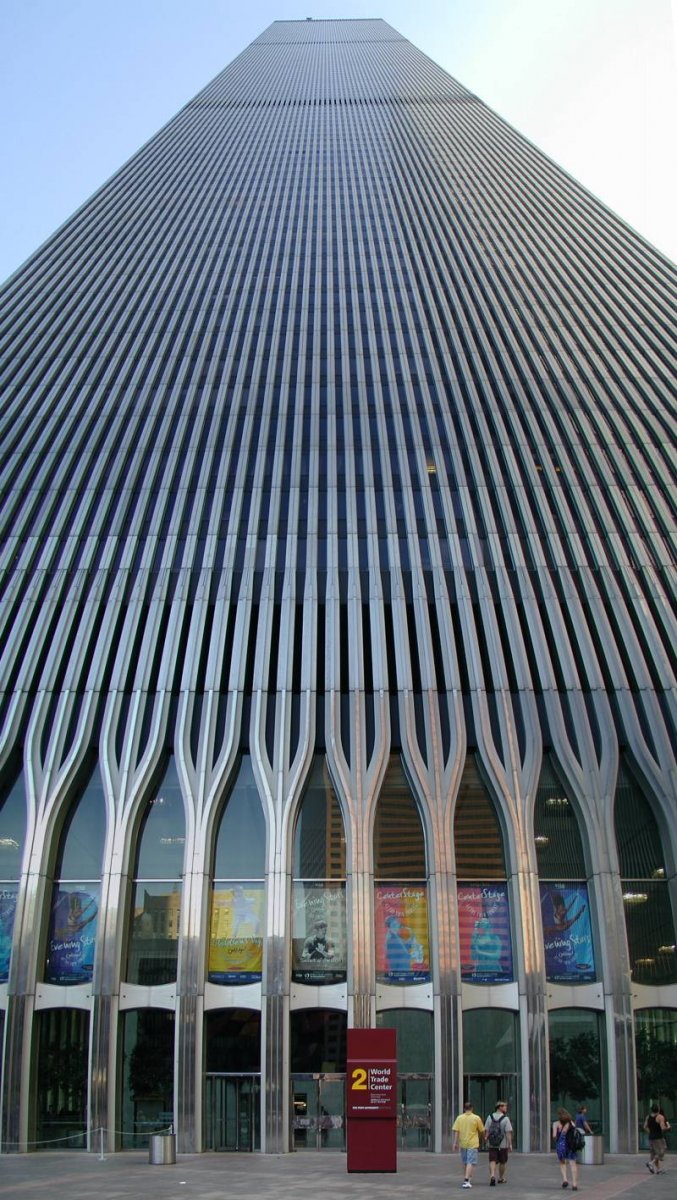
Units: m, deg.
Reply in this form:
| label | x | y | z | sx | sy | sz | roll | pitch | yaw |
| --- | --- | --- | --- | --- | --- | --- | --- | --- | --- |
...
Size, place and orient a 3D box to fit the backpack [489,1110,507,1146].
| label | x | y | z | sx | sy | sz | roll | pitch | yaw |
| --- | --- | --- | --- | --- | --- | --- | --- | --- | --- |
| backpack | 2.396 | 7.983 | 11.981 | 0.298 | 0.415 | 0.385 | -5 | -22 | 7 |
